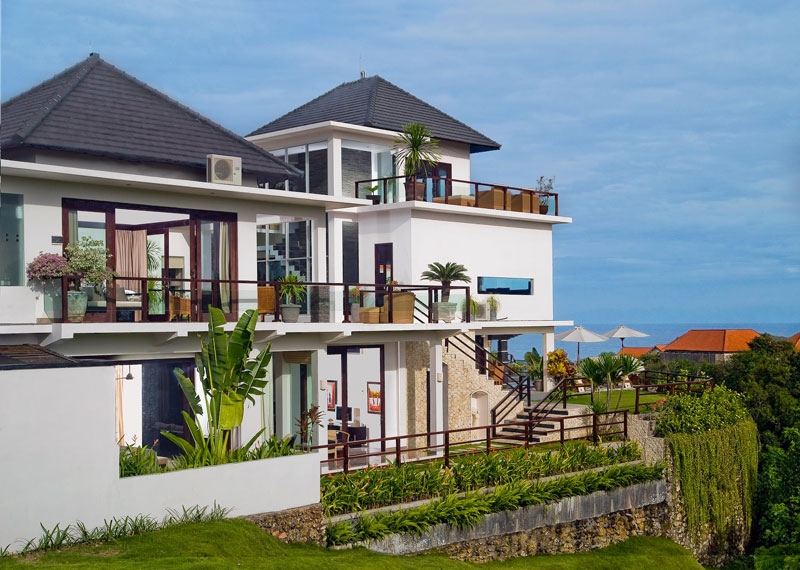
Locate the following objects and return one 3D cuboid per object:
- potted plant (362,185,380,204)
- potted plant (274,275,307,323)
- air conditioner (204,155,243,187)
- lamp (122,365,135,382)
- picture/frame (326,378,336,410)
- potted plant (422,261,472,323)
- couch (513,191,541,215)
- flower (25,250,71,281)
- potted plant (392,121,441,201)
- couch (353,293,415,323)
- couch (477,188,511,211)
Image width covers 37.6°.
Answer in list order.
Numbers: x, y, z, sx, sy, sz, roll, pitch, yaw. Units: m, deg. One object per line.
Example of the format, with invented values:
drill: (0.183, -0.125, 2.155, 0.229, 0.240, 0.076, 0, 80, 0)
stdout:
potted plant: (-1.128, -3.747, 48.829, 0.290, 0.810, 1.066, 1, -2, -32)
potted plant: (-3.844, 0.481, 40.446, 1.286, 1.707, 1.200, 4, -7, -26)
air conditioner: (-5.985, -3.841, 39.755, 1.080, 0.918, 0.343, 6, -10, -41)
lamp: (-9.211, 2.992, 40.056, 0.530, 0.614, 0.547, 0, -5, 1)
picture/frame: (-2.479, 4.054, 43.683, 0.188, 1.150, 0.692, 1, -2, -30)
potted plant: (1.517, 0.143, 44.930, 1.999, 2.142, 2.074, 1, -2, 33)
couch: (5.523, -3.639, 51.649, 1.707, 1.015, 0.498, 2, -3, -43)
flower: (-10.950, -0.612, 36.753, 0.928, 0.640, 0.938, 1, -1, -16)
potted plant: (0.676, -5.010, 48.974, 1.707, 3.204, 2.221, 0, -2, 0)
couch: (-0.494, 0.913, 42.018, 1.333, 0.865, 1.378, 0, -2, -6)
couch: (4.033, -3.660, 50.316, 1.794, 0.993, 0.506, 2, -2, -38)
